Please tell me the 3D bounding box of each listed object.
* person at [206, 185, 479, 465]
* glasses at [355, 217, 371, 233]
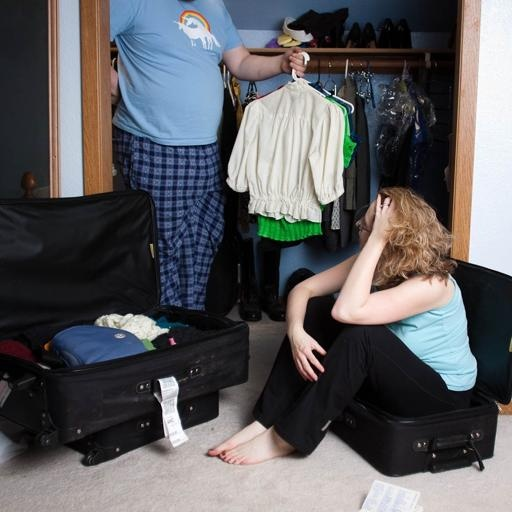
[{"bbox_3d":[0.311,0.197,1.599,0.789,0.809,0.392,1,9,3],"label":"person"},{"bbox_3d":[0.347,-0.099,1.644,0.027,0.047,0.044,-3,-1,-28],"label":"glasses"}]
